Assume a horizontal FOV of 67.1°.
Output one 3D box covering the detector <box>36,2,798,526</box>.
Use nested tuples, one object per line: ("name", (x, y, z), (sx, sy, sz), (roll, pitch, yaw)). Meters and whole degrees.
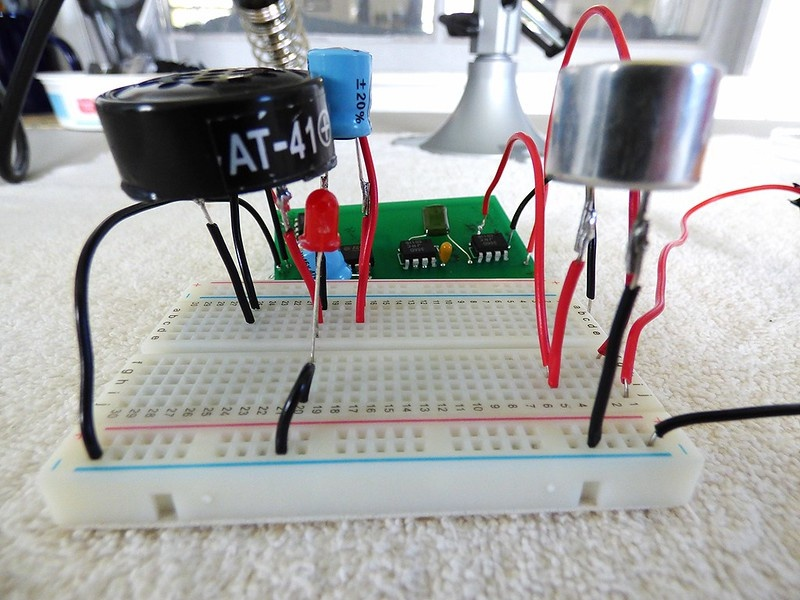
("detector", (-0.028, -0.013, 0.802), (0.783, 0.377, 0.596), (0, 32, -5))
